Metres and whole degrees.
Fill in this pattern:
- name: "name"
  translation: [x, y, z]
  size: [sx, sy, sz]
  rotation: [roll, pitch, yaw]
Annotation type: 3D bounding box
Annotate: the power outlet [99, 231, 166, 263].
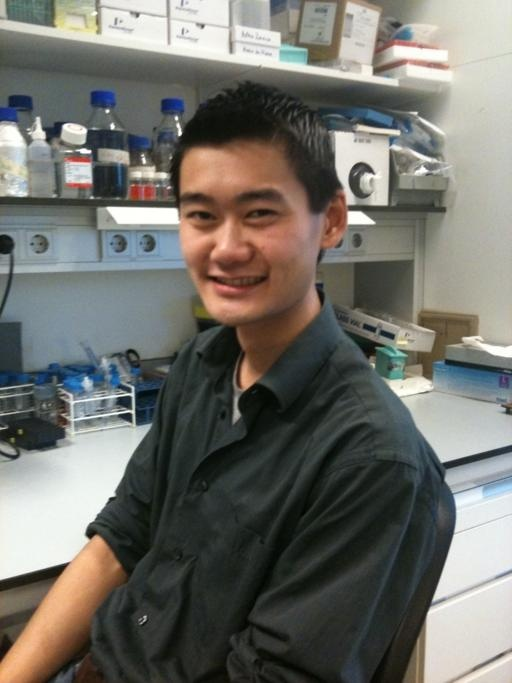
- name: "power outlet"
  translation: [-0.362, -0.254, 1.543]
  size: [0.194, 0.080, 0.136]
  rotation: [-6, 18, -42]
